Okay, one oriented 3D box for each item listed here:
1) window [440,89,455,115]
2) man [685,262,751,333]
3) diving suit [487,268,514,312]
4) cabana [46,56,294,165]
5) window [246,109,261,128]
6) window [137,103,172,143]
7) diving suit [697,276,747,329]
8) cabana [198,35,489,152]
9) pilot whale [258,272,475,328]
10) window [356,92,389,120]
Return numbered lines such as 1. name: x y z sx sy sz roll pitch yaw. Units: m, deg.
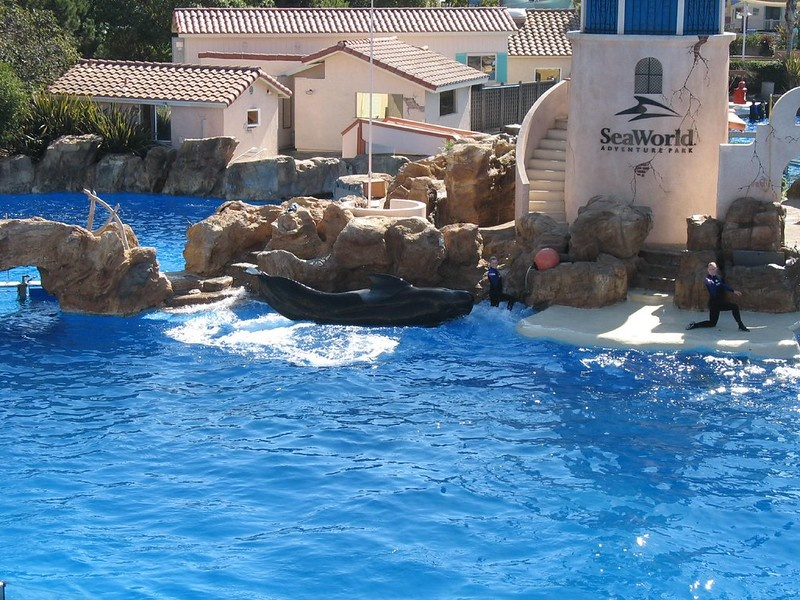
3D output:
1. window: 1.730 -6.832 42.019 0.515 0.777 0.825 2 -2 7
2. man: 5.783 -0.170 22.726 1.365 1.418 0.961 -10 10 22
3. diving suit: 2.083 -0.164 24.082 0.540 1.282 0.501 1 4 8
4. cabana: -7.421 -6.299 39.490 6.992 2.941 4.247 4 9 18
5. window: -4.673 -5.819 39.010 0.335 0.522 0.557 4 3 30
6. window: -7.931 -5.829 39.339 1.284 0.914 1.342 2 15 5
7. diving suit: 6.017 -0.011 22.470 0.857 0.996 1.177 3 9 16
8. cabana: -1.576 -7.265 41.903 7.465 2.641 4.818 2 17 9
9. pilot whale: -0.603 -0.004 22.934 3.847 1.008 0.457 1 9 1
10. window: -0.897 -6.680 41.460 0.948 0.826 1.880 -2 8 -19
